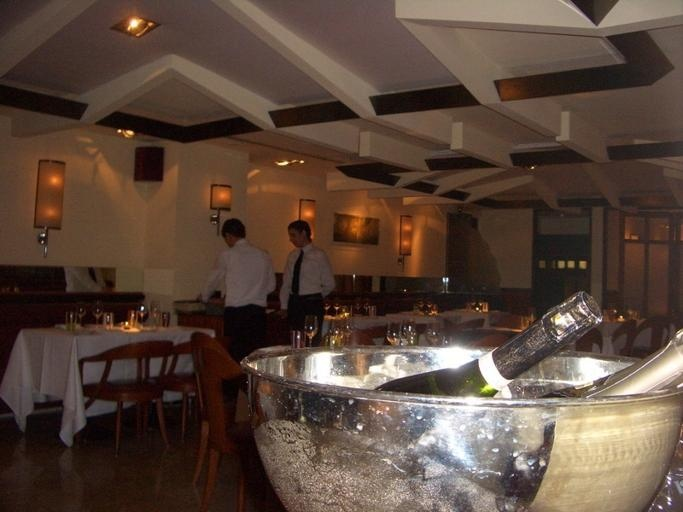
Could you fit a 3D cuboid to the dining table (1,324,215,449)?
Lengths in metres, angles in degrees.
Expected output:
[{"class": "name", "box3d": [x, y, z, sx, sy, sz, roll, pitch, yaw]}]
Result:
[{"class": "dining table", "box3d": [-2.247, 0.927, 4.666, 1.149, 0.687, 1.280, -3, -5, 33]}]

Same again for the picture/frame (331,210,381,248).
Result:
[{"class": "picture/frame", "box3d": [0.305, -0.505, 10.349, 0.052, 0.583, 1.391, -1, 0, 39]}]

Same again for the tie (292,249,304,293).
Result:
[{"class": "tie", "box3d": [-0.477, 0.175, 6.016, 0.152, 0.481, 0.103, -1, 0, -25]}]

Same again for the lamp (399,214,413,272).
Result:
[{"class": "lamp", "box3d": [1.368, -0.310, 11.458, 0.137, 1.044, 0.548, -1, 0, 36]}]

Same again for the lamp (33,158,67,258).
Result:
[{"class": "lamp", "box3d": [-3.377, -0.563, 6.301, 0.374, 1.199, 0.177, -1, 0, -44]}]

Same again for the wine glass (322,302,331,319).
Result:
[{"class": "wine glass", "box3d": [-0.195, 0.700, 7.208, 0.156, 0.282, 0.167, 0, -10, 5]}]

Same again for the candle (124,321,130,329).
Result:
[{"class": "candle", "box3d": [-1.996, 0.651, 5.089, 0.061, 0.075, 0.061, -3, 6, -32]}]

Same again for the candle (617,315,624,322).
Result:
[{"class": "candle", "box3d": [3.648, 0.816, 7.091, 0.081, 0.080, 0.087, 0, -1, 13]}]

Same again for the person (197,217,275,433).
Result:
[{"class": "person", "box3d": [-0.991, 0.571, 5.281, 0.644, 1.889, 0.556, -2, 9, -35]}]
